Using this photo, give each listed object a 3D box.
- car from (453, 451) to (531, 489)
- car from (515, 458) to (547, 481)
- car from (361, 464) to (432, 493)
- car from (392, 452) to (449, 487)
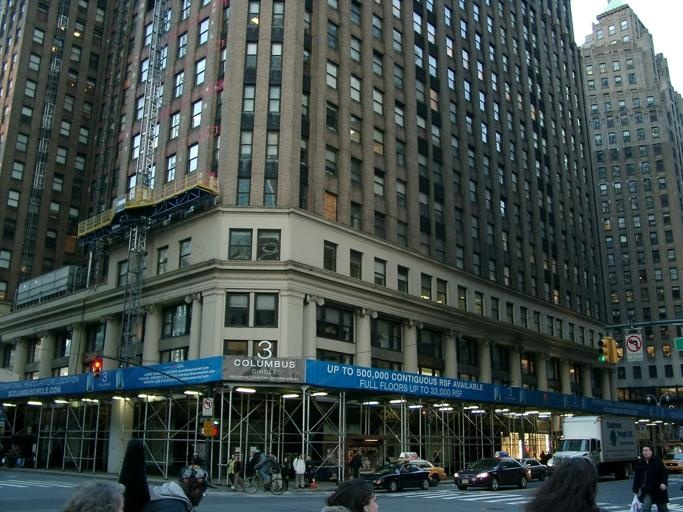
[{"bbox_3d":[9.423,13.642,43.675,4.475,1.986,1.800,11,-22,-30],"label":"car"},{"bbox_3d":[12.896,14.422,47.211,1.339,1.078,3.292,-11,-24,32],"label":"car"},{"bbox_3d":[3.607,13.685,43.163,4.486,1.726,1.723,17,-26,-42],"label":"car"},{"bbox_3d":[6.037,14.678,48.686,4.717,1.728,2.238,14,-21,-26],"label":"car"}]
